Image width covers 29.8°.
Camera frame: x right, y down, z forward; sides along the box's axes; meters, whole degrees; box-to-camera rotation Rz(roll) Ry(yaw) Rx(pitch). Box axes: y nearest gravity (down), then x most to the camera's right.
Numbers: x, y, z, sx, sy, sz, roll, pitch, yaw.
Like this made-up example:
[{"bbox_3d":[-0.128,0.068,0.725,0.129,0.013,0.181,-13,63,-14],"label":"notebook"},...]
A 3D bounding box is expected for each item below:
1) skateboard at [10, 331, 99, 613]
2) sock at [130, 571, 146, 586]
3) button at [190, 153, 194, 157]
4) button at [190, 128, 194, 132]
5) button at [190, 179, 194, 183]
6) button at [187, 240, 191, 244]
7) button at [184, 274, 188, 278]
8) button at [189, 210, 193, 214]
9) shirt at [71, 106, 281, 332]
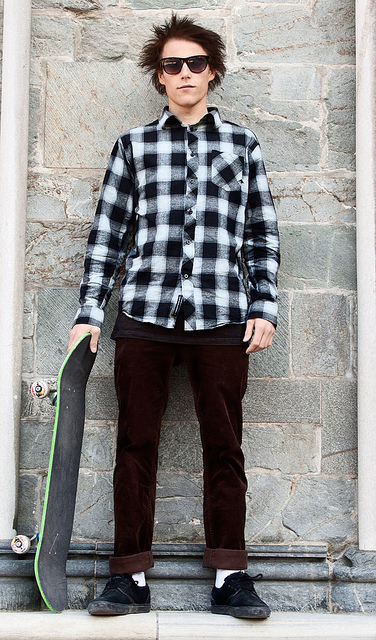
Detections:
[{"bbox_3d":[-0.385,0.480,2.183,0.147,0.875,0.229,6,-7,19],"label":"skateboard"},{"bbox_3d":[-0.153,0.815,2.234,0.040,0.046,0.018,-2,-7,-34],"label":"sock"},{"bbox_3d":[0.014,-0.555,2.379,0.014,0.012,0.003,6,3,0],"label":"button"},{"bbox_3d":[0.014,-0.649,2.420,0.011,0.010,0.002,8,-4,-10],"label":"button"},{"bbox_3d":[0.013,-0.461,2.351,0.012,0.009,0.009,3,32,-13],"label":"button"},{"bbox_3d":[0.003,-0.253,2.321,0.014,0.013,0.005,0,-3,-6],"label":"button"},{"bbox_3d":[-0.006,-0.141,2.299,0.013,0.011,0.003,0,1,-2],"label":"button"},{"bbox_3d":[0.008,-0.354,2.330,0.013,0.011,0.004,5,-5,1],"label":"button"},{"bbox_3d":[0.002,-0.328,2.369,0.644,0.639,0.586,7,32,-6],"label":"shirt"}]
